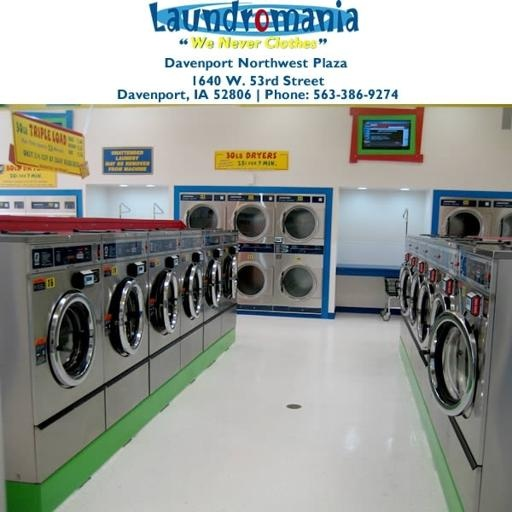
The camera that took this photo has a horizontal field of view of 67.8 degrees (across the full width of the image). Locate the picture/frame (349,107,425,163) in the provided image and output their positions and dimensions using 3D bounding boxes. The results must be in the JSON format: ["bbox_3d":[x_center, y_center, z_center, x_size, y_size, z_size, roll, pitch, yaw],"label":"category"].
[{"bbox_3d":[2.032,-1.908,5.851,0.674,0.699,0.081,1,2,6],"label":"picture/frame"}]
